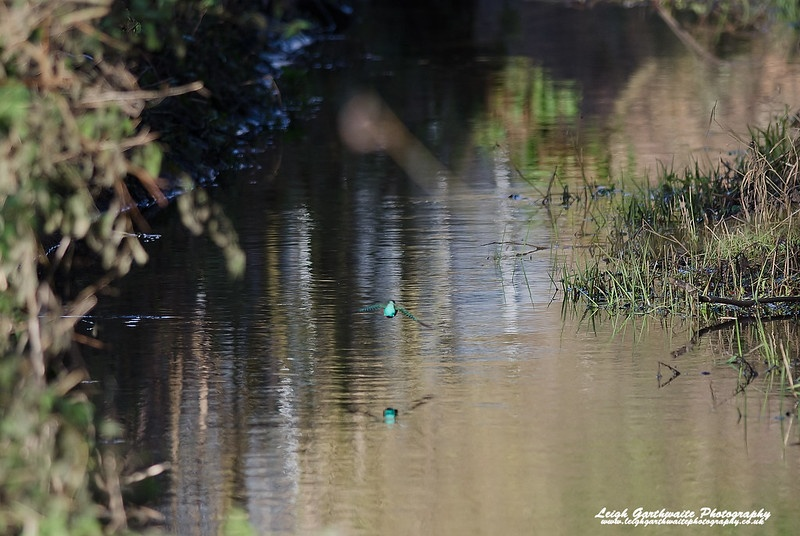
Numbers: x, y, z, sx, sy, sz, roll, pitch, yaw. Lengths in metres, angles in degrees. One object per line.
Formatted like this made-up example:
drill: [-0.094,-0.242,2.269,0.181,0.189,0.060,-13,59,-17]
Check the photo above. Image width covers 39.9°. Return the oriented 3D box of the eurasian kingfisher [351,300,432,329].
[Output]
eurasian kingfisher: [0.023,0.305,8.335,0.701,0.119,0.325,10,18,36]
